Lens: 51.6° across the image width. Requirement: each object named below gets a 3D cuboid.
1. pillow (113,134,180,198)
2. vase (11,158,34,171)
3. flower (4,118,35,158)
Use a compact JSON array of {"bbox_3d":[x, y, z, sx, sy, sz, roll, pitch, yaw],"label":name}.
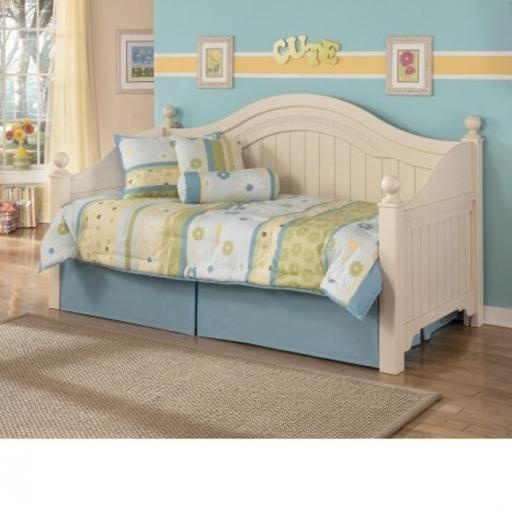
[{"bbox_3d":[-0.648,-0.546,3.374,0.428,0.362,0.122,-1,-3,2],"label":"pillow"},{"bbox_3d":[-2.549,-0.999,5.807,0.152,0.103,0.149,1,1,33],"label":"vase"},{"bbox_3d":[-2.578,-1.294,5.801,0.294,0.419,0.284,-6,15,-23],"label":"flower"}]
